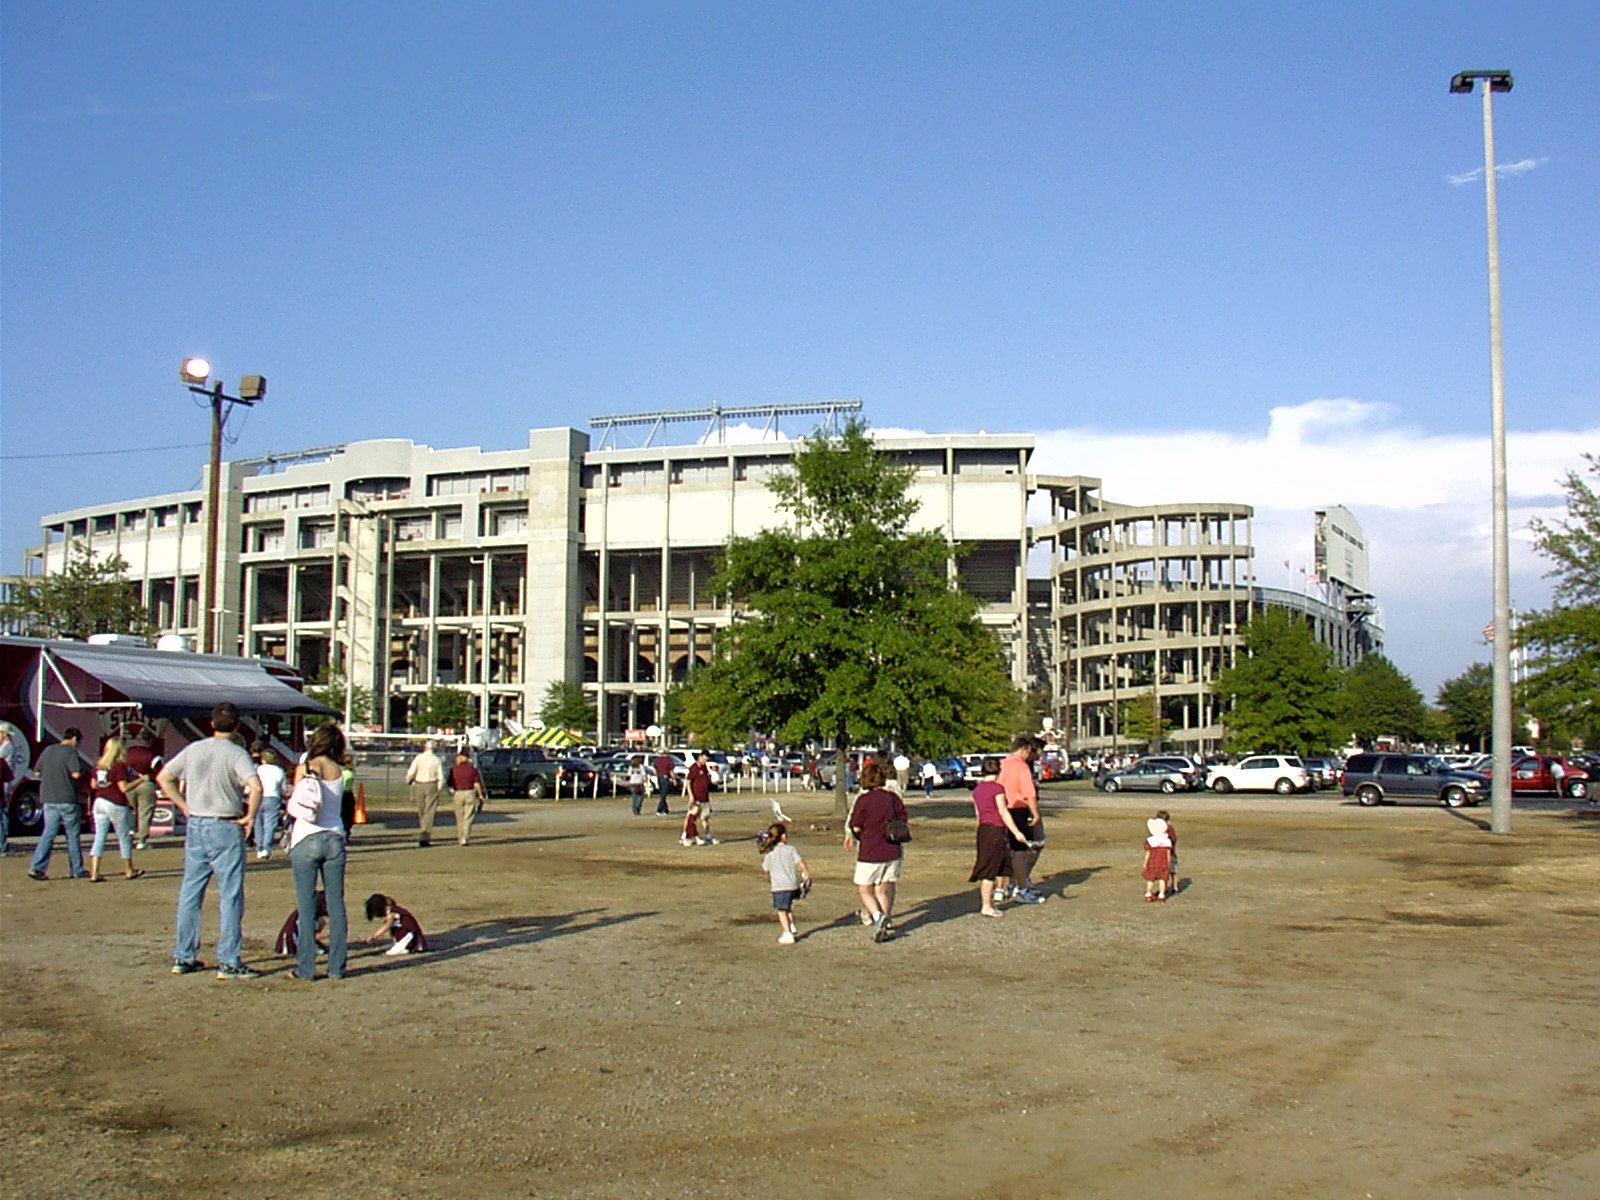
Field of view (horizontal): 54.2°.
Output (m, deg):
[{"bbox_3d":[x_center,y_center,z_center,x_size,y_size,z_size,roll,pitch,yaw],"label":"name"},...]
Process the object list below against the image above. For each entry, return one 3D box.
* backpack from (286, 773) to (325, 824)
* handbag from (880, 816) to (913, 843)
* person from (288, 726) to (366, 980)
[{"bbox_3d":[-4.454,1.774,13.958,0.323,0.437,0.220,-7,-8,37],"label":"backpack"},{"bbox_3d":[1.022,2.455,16.754,0.252,0.264,0.409,-3,-6,3],"label":"handbag"},{"bbox_3d":[-4.463,2.291,14.435,0.513,2.298,1.274,-1,-6,-18],"label":"person"}]
